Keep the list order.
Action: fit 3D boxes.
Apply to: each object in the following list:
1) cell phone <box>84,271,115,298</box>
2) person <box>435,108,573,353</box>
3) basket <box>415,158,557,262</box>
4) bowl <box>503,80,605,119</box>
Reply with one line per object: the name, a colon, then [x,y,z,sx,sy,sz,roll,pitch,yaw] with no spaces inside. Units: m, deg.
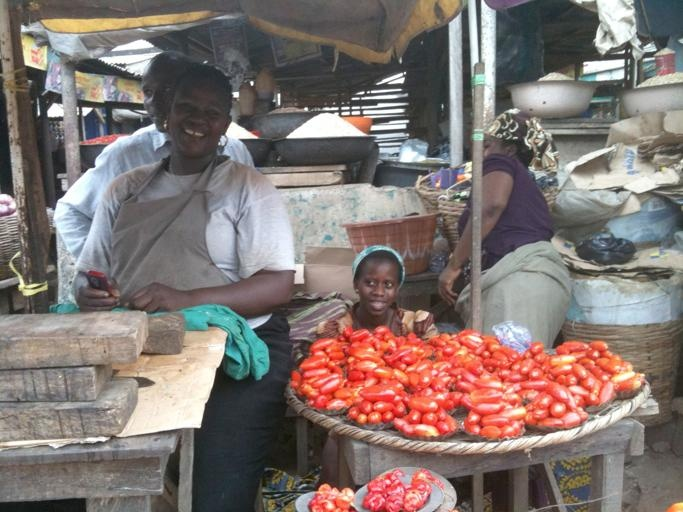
cell phone: [-1.067,0.109,2.980,0.083,0.113,0.197,-12,12,-40]
person: [0.912,-0.174,3.921,0.707,1.318,1.171,-2,9,14]
basket: [0.952,-0.273,4.104,0.736,0.462,0.614,-14,5,-31]
bowl: [1.524,-1.148,4.977,0.453,0.141,0.371,2,4,-2]
